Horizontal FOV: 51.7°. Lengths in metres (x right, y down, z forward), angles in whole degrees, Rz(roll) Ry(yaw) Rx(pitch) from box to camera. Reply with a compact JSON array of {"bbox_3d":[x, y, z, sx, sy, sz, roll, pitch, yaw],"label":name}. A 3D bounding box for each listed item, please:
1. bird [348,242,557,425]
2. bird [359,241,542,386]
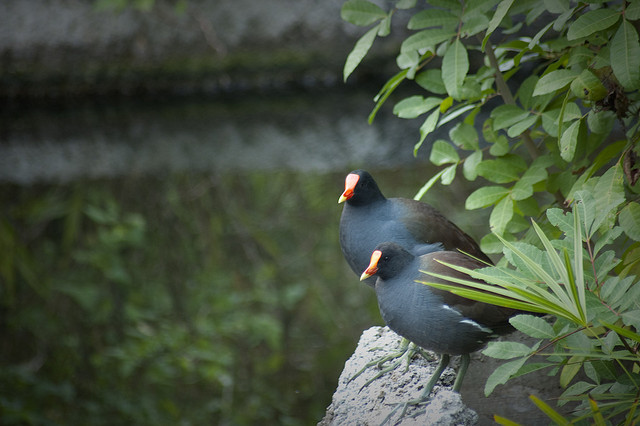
[{"bbox_3d":[0.736,0.434,3.614,1.203,0.875,0.726,-17,33,-1],"label":"bird"},{"bbox_3d":[0.673,0.511,3.588,1.158,0.779,0.609,-3,15,-20],"label":"bird"}]
